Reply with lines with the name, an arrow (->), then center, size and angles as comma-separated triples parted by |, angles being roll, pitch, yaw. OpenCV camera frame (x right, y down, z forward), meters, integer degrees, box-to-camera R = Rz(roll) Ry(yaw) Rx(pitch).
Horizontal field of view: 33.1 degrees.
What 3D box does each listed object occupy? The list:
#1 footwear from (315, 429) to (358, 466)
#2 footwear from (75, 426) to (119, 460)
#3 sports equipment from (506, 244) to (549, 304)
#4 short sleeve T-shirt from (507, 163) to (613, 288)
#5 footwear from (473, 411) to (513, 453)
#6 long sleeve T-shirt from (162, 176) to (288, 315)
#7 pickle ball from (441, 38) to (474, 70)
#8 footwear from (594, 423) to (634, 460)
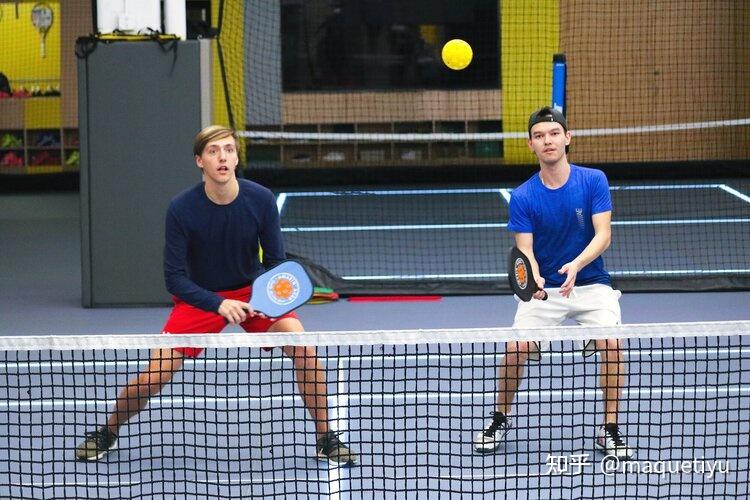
footwear -> -0.377, 1.956, 12.345 | 0.387, 0.358, 0.332 | -2, 14, -9
footwear -> -2.745, 1.911, 12.549 | 0.247, 0.259, 0.588 | 13, 12, 25
sports equipment -> 1.476, 0.263, 12.534 | 0.214, 0.543, 0.419 | 9, 16, 32
short sleeve T-shirt -> 1.908, -0.192, 12.902 | 1.297, 1.670, 0.859 | -4, -2, 3
footwear -> 1.190, 1.827, 12.626 | 0.213, 0.321, 0.650 | 2, 11, 28
long sleeve T-shirt -> -1.544, -0.113, 13.096 | 1.415, 1.593, 1.150 | -5, 13, -19
pickle ball -> 1.146, -2.703, 17.609 | 0.362, 0.397, 0.365 | 0, 14, 0
footwear -> 2.362, 1.906, 12.483 | 0.209, 0.281, 0.580 | 1, 6, -19
